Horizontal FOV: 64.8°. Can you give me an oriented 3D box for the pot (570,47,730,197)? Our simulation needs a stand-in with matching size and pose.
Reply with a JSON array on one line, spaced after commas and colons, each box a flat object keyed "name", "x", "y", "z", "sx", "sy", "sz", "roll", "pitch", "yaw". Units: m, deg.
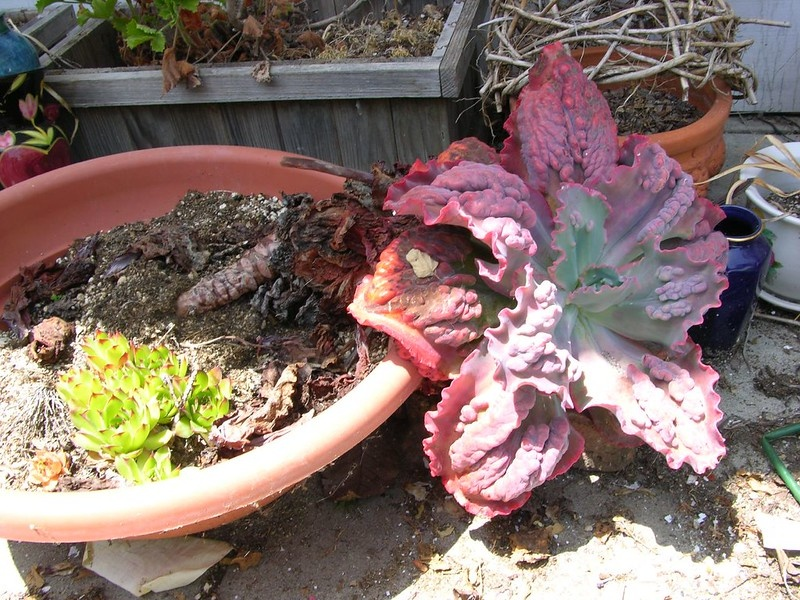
[{"name": "pot", "x": 0.868, "y": -0.570, "z": 2.042, "sx": 0.375, "sy": 0.308, "sz": 0.614, "roll": -9, "pitch": 52, "yaw": -11}]

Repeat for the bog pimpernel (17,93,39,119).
[{"name": "bog pimpernel", "x": -1.312, "y": -0.686, "z": 2.220, "sx": 0.064, "sy": 0.076, "sz": 0.040, "roll": 2, "pitch": 5, "yaw": -41}]

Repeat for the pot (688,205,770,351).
[{"name": "pot", "x": 0.986, "y": -0.060, "z": 1.852, "sx": 0.177, "sy": 0.356, "sz": 0.297, "roll": 12, "pitch": 51, "yaw": 7}]
